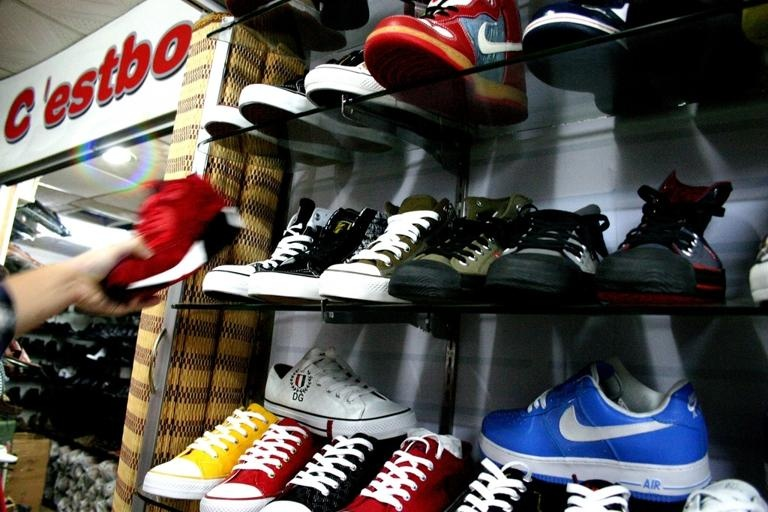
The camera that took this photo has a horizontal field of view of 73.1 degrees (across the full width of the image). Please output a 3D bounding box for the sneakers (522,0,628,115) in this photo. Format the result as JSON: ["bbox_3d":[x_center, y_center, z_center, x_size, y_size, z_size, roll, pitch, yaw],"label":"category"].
[{"bbox_3d":[0.472,-0.451,1.231,0.151,0.135,0.345,-8,-24,37],"label":"sneakers"}]

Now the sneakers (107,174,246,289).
[{"bbox_3d":[-0.535,-0.029,1.278,0.419,0.170,0.138,-26,-13,-4],"label":"sneakers"}]

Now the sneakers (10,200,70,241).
[{"bbox_3d":[-2.078,-0.200,3.113,0.134,0.145,0.397,-11,-21,38],"label":"sneakers"}]

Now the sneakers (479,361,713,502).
[{"bbox_3d":[0.429,0.379,1.304,0.655,0.279,0.239,1,-3,26],"label":"sneakers"}]

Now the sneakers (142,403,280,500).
[{"bbox_3d":[-0.435,0.528,1.508,0.164,0.168,0.455,0,-1,37],"label":"sneakers"}]

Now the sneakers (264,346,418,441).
[{"bbox_3d":[-0.159,0.370,1.454,0.479,0.178,0.178,-3,-5,40],"label":"sneakers"}]
